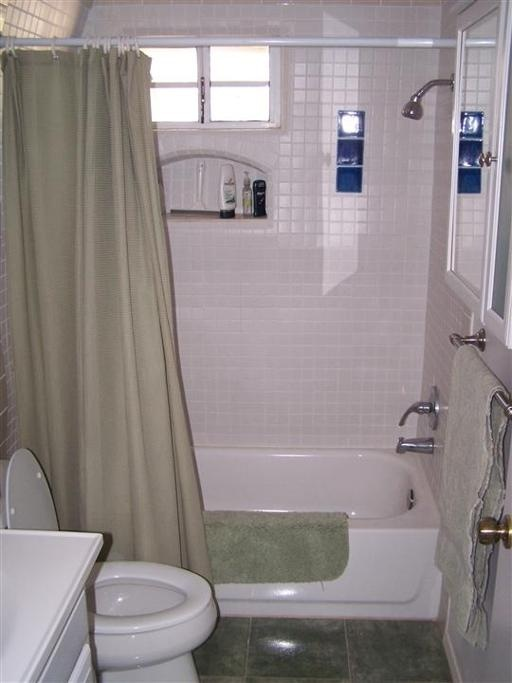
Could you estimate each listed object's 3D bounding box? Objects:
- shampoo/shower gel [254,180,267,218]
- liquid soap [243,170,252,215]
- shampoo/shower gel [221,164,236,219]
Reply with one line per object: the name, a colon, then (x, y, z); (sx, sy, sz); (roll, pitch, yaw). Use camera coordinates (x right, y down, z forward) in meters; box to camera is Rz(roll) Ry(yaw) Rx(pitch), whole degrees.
shampoo/shower gel: (0.017, -0.623, 2.397); (0.057, 0.146, 0.036); (-2, 16, -6)
liquid soap: (-0.042, -0.636, 2.422); (0.048, 0.153, 0.045); (3, 16, 12)
shampoo/shower gel: (-0.122, -0.645, 2.413); (0.065, 0.269, 0.059); (1, -15, -9)
